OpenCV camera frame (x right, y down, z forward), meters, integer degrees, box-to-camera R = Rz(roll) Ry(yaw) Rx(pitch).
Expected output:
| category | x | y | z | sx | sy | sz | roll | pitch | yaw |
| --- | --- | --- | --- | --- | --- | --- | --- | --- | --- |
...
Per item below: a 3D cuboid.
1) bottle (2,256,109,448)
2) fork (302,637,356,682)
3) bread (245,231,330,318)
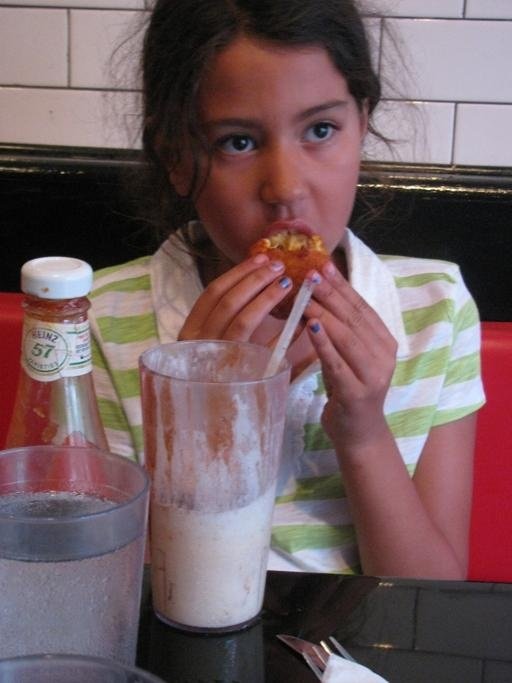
| category | x | y | z | sx | sy | sz | roll | pitch | yaw |
| --- | --- | --- | --- | --- | --- | --- | --- | --- | --- |
| bottle | -0.147 | 0.017 | 0.494 | 0.073 | 0.152 | 0.111 | -4 | 8 | -11 |
| fork | 0.048 | 0.212 | 0.469 | 0.016 | 0.002 | 0.053 | -7 | 1 | -5 |
| bread | 0.045 | -0.090 | 0.925 | 0.100 | 0.121 | 0.099 | -2 | 8 | -1 |
